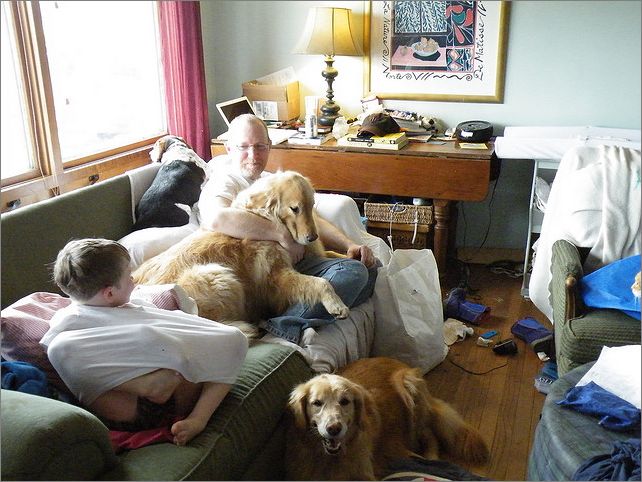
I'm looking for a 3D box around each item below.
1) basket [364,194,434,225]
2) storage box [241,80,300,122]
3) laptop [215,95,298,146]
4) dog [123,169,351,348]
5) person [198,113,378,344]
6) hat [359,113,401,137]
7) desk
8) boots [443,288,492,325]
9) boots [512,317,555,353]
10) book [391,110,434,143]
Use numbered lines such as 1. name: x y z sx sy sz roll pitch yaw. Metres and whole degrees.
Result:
1. basket: 0.563 -0.252 3.728 0.356 0.118 0.228 5 13 13
2. storage box: -0.394 -1.118 4.151 0.359 0.227 0.356 1 20 5
3. laptop: -0.537 -0.944 3.862 0.315 0.166 0.306 -29 36 -36
4. dog: -0.378 0.055 2.568 1.088 0.625 0.632 -15 18 -20
5. person: -0.146 -0.150 2.706 0.885 1.012 0.761 6 16 34
6. hat: 0.405 -0.812 3.702 0.181 0.117 0.255 5 13 27
7. desk: 0.308 -0.290 4.041 1.899 0.918 0.635 5 23 13
8. boots: 0.916 0.422 3.320 0.216 0.093 0.216 15 27 24
9. boots: 1.246 0.538 3.046 0.143 0.069 0.174 -18 27 -20
10. book: 0.672 -0.866 3.875 0.312 0.112 0.237 18 25 0
